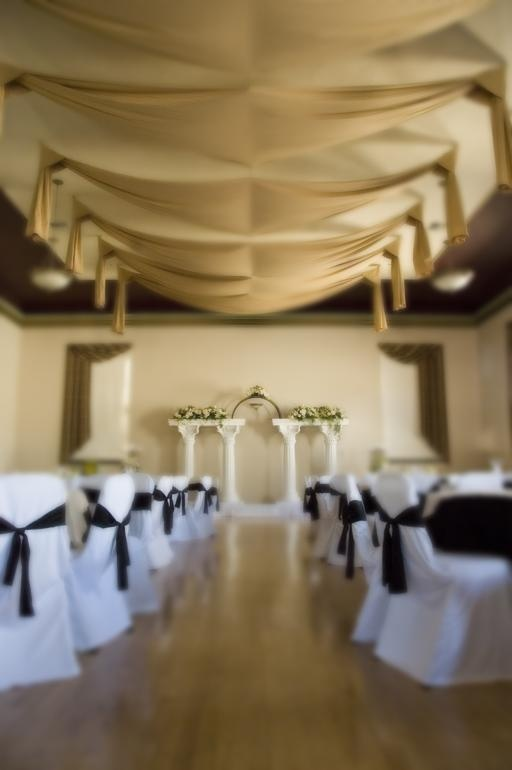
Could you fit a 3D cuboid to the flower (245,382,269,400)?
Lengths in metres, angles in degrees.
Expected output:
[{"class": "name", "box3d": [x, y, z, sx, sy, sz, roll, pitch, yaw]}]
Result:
[{"class": "flower", "box3d": [0.015, 0.122, 8.084, 0.309, 0.137, 0.365, -1, -8, -1]}]

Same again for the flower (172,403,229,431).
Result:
[{"class": "flower", "box3d": [-0.861, 0.444, 7.974, 0.845, 0.308, 0.271, 1, -9, -18]}]
